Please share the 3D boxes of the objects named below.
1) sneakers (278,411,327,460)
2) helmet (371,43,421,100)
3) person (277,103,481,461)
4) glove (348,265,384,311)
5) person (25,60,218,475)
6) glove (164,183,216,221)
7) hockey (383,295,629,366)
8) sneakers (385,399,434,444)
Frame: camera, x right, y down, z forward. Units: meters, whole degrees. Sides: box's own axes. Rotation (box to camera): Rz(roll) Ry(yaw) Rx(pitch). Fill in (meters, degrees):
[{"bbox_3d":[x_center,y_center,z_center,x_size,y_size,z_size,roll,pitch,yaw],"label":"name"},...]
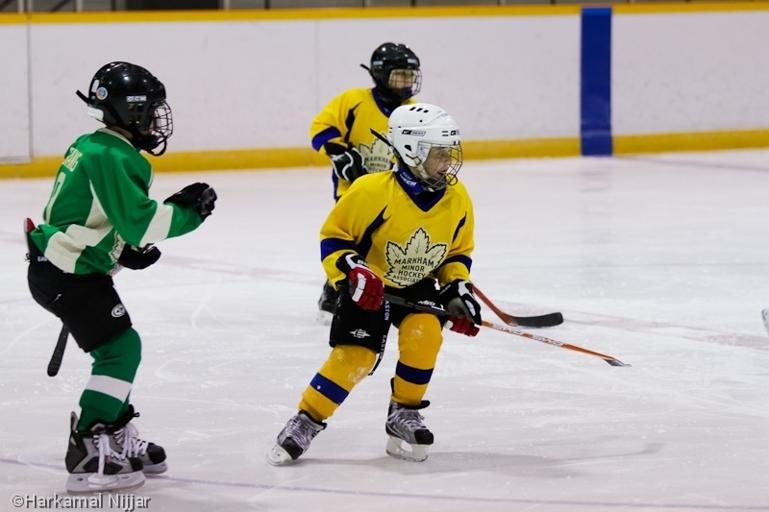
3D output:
[{"bbox_3d":[-0.308,0.679,3.439,0.100,0.102,0.271,40,17,5],"label":"sneakers"},{"bbox_3d":[0.119,-0.990,4.802,0.296,0.284,0.349,-14,23,-39],"label":"helmet"},{"bbox_3d":[-0.012,0.087,3.478,0.853,1.376,0.531,0,10,-17],"label":"person"},{"bbox_3d":[-0.065,0.125,3.339,0.129,0.081,0.163,30,21,-55],"label":"glove"},{"bbox_3d":[-0.958,0.054,3.241,0.639,1.505,0.423,-1,11,-19],"label":"person"},{"bbox_3d":[-0.690,-0.189,3.160,0.166,0.140,0.069,-29,0,-14],"label":"glove"},{"bbox_3d":[0.577,0.369,4.204,1.158,0.050,0.070,16,-21,-16],"label":"hockey"},{"bbox_3d":[0.098,0.646,3.462,0.178,0.136,0.207,2,8,-1],"label":"sneakers"}]
